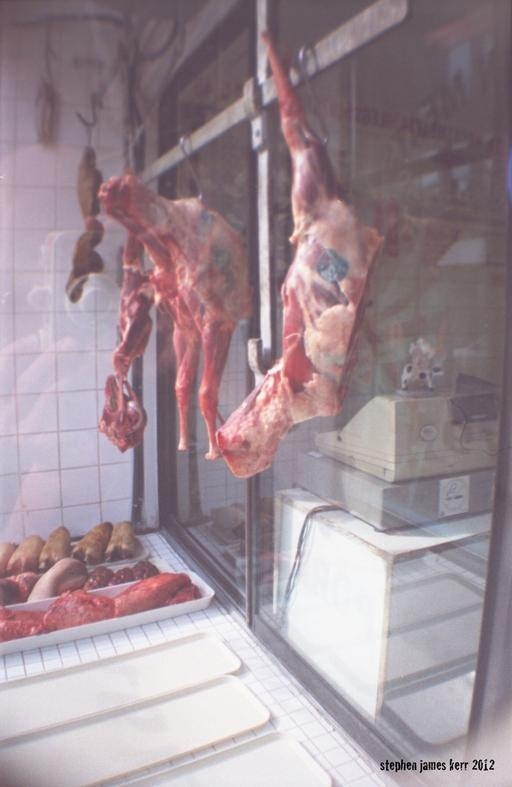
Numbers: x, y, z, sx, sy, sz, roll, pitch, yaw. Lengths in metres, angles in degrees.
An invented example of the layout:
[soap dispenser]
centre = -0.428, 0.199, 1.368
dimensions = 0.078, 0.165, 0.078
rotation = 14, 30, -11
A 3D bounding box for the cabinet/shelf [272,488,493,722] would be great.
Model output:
[cabinet/shelf]
centre = 0.206, 0.376, 1.290
dimensions = 0.205, 0.281, 0.368
rotation = -3, 7, -28
